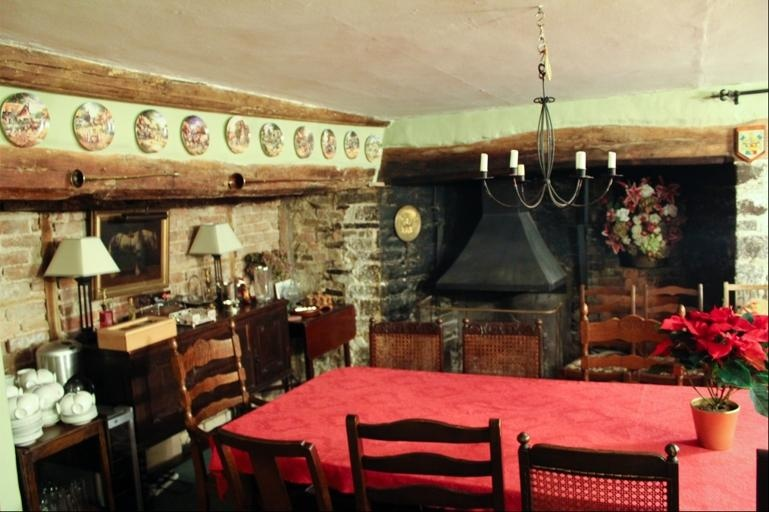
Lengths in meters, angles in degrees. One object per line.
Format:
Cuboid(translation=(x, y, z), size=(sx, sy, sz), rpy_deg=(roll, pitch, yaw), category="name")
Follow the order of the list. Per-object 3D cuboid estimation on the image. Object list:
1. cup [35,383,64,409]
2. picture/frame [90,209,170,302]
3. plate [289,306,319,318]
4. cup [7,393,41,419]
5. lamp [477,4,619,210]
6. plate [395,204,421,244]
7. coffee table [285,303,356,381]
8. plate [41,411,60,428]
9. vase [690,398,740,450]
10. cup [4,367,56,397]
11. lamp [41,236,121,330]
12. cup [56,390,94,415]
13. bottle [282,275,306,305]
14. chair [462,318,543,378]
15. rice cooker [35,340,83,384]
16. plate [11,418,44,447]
Cuboid(translation=(-2.134, 0.887, 3.914), size=(0.153, 0.100, 0.142), rpy_deg=(0, 5, 0), category="cup")
Cuboid(translation=(-1.931, -0.013, 4.592), size=(0.060, 0.716, 0.782), rpy_deg=(1, 2, 34), category="picture/frame")
Cuboid(translation=(-0.739, 0.510, 5.630), size=(0.272, 0.071, 0.248), rpy_deg=(-4, 3, 3), category="plate")
Cuboid(translation=(-2.219, 0.914, 3.769), size=(0.160, 0.091, 0.159), rpy_deg=(-1, 4, 0), category="cup")
Cuboid(translation=(1.321, -1.033, 5.020), size=(0.913, 1.259, 1.050), rpy_deg=(0, 5, 18), category="lamp")
Cuboid(translation=(0.233, -0.320, 6.115), size=(0.354, 0.328, 0.064), rpy_deg=(19, -12, -37), category="plate")
Cuboid(translation=(-0.606, 0.848, 5.773), size=(0.301, 0.676, 0.814), rpy_deg=(5, 12, 29), category="coffee table")
Cuboid(translation=(-2.134, 1.047, 3.919), size=(0.107, 0.067, 0.095), rpy_deg=(0, -5, -8), category="plate")
Cuboid(translation=(1.695, 0.868, 3.187), size=(0.257, 0.203, 0.236), rpy_deg=(1, 4, 29), category="vase")
Cuboid(translation=(-2.323, 0.818, 4.007), size=(0.201, 0.103, 0.193), rpy_deg=(0, 4, 0), category="cup")
Cuboid(translation=(-2.082, 0.248, 4.255), size=(0.420, 0.706, 0.373), rpy_deg=(-5, 2, 21), category="lamp")
Cuboid(translation=(-1.997, 0.928, 3.938), size=(0.164, 0.080, 0.146), rpy_deg=(9, 20, 29), category="cup")
Cuboid(translation=(-0.899, 0.347, 6.140), size=(0.189, 0.263, 0.408), rpy_deg=(-5, 3, -3), category="bottle")
Cuboid(translation=(0.839, 0.590, 4.285), size=(0.508, 0.393, 0.433), rpy_deg=(3, 6, 18), category="chair")
Cuboid(translation=(-2.188, 0.714, 4.201), size=(0.299, 0.293, 0.280), rpy_deg=(-1, 3, -24), category="rice cooker")
Cuboid(translation=(-2.187, 1.073, 3.750), size=(0.170, 0.146, 0.159), rpy_deg=(-1, -2, -7), category="plate")
